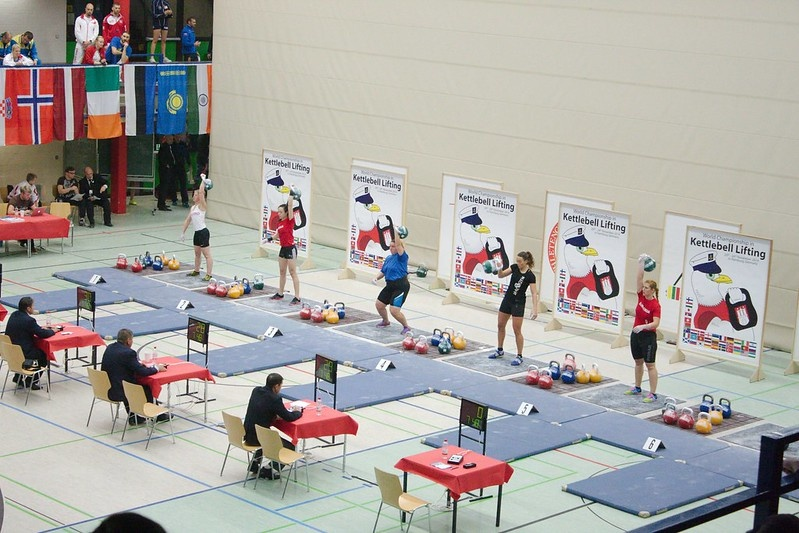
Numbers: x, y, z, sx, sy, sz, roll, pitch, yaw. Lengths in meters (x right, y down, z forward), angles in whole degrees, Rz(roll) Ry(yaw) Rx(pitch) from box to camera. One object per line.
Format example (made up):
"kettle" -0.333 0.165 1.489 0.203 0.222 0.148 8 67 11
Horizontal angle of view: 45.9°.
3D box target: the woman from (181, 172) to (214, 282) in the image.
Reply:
"woman" -5.367 -1.099 25.244 0.721 2.755 1.922 -3 11 -12

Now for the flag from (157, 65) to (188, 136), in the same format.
"flag" -7.268 -5.365 30.508 1.195 2.235 0.156 -11 21 -43

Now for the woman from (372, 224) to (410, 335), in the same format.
"woman" -0.164 0.307 22.140 0.796 2.409 1.495 -1 11 -2

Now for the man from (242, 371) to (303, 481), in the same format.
"man" -2.123 2.638 16.101 1.019 1.663 0.875 4 10 -7

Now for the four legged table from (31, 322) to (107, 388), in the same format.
"four legged table" -6.613 1.749 18.922 1.058 0.658 1.276 -7 16 -37

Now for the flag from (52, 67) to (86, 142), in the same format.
"flag" -9.964 -4.928 28.548 1.174 2.054 0.157 -2 0 13

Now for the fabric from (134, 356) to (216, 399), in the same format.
"fabric" -4.155 1.989 17.469 0.921 0.232 0.905 -12 22 -40

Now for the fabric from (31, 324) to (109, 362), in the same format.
"fabric" -6.539 1.443 18.613 0.839 0.302 0.821 14 20 41

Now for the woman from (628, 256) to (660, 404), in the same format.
"woman" 4.987 1.283 19.254 0.566 2.811 1.271 2 11 15

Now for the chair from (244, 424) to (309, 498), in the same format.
"chair" -1.947 3.164 15.763 0.847 1.187 0.754 -4 9 -44

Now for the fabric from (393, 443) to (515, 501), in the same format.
"fabric" 1.022 3.179 14.789 1.003 0.259 1.050 -8 15 -39

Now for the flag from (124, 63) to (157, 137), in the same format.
"flag" -8.015 -5.238 29.864 1.255 2.341 0.078 -2 -8 -3

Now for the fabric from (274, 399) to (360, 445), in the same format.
"fabric" -1.387 2.657 15.962 0.826 0.192 0.816 -8 17 -34

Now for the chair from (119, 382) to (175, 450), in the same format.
"chair" -4.559 2.615 17.167 0.740 1.213 0.797 8 10 30

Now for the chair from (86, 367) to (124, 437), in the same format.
"chair" -5.332 2.376 17.466 0.646 1.132 0.734 7 8 31

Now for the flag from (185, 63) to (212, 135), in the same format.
"flag" -6.648 -5.526 31.406 0.982 2.393 0.078 -14 26 -41

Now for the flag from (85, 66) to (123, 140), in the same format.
"flag" -9.091 -5.068 29.202 1.298 2.240 0.126 -1 1 15

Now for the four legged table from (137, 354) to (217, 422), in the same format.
"four legged table" -4.139 2.323 17.710 1.182 0.667 1.181 -6 13 -43
